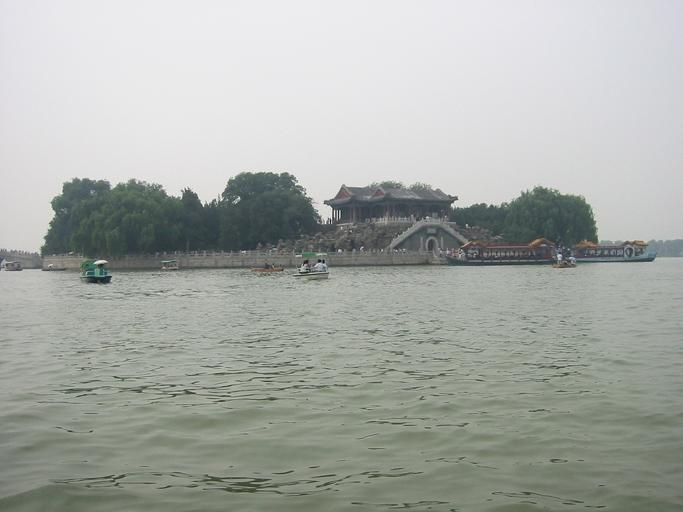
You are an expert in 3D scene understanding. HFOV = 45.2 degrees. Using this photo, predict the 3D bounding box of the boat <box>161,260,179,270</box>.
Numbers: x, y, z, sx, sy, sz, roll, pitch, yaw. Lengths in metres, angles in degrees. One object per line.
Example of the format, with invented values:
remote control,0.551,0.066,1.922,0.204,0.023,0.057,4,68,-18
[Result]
boat,-15.982,0.768,76.172,1.558,0.812,0.935,0,2,-1

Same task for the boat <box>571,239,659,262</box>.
boat,27.558,-0.539,84.826,9.486,2.659,2.225,-2,4,-10

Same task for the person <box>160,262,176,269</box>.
person,-16.052,0.778,76.056,1.129,0.606,0.651,0,2,1

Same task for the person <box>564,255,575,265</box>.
person,21.420,0.328,76.657,0.963,1.139,3.421,-2,-2,12

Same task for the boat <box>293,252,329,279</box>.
boat,-2.176,0.541,58.711,2.303,1.467,2.712,0,-2,-10

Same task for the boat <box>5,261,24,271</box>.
boat,-40.911,1.252,101.976,1.857,1.239,3.304,-6,12,-25

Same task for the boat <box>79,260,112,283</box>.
boat,-16.423,1.005,54.577,1.563,1.254,3.752,0,-3,-30

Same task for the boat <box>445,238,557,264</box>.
boat,16.628,-0.959,82.097,12.345,2.624,3.856,1,-3,-17
